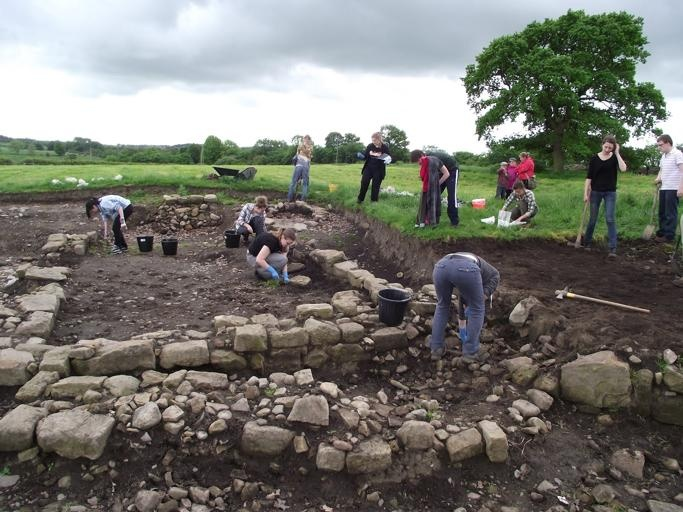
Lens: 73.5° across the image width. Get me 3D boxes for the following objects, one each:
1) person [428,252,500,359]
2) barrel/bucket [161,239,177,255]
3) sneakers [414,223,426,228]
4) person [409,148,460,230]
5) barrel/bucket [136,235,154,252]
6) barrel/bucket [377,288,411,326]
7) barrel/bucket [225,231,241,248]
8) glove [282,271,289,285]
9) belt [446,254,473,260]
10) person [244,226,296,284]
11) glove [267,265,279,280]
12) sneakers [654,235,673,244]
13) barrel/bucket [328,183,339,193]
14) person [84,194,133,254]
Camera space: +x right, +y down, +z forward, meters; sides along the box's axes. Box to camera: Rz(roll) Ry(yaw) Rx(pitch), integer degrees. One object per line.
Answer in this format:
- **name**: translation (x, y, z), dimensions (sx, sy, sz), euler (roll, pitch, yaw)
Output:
- **person**: translation (1.872, 0.821, 6.967), dimensions (0.979, 1.530, 1.283), euler (17, 32, 35)
- **barrel/bucket**: translation (-4.043, -0.215, 10.738), dimensions (0.373, 0.287, 0.393), euler (3, -1, 0)
- **sneakers**: translation (1.685, -0.660, 9.914), dimensions (0.211, 0.087, 0.072), euler (-2, 5, 39)
- **person**: translation (2.057, -1.469, 9.980), dimensions (1.085, 1.588, 0.899), euler (5, 11, 14)
- **barrel/bucket**: translation (-4.759, -0.302, 11.008), dimensions (0.416, 0.345, 0.392), euler (-1, 1, 0)
- **barrel/bucket**: translation (0.810, 0.834, 7.585), dimensions (0.550, 0.433, 0.598), euler (5, 15, -1)
- **barrel/bucket**: translation (-2.613, -0.406, 11.169), dimensions (0.409, 0.302, 0.411), euler (2, 2, 0)
- **glove**: translation (-1.084, 0.426, 9.023), dimensions (0.076, 0.201, 0.152), euler (5, -2, -2)
- **belt**: translation (1.706, 0.003, 6.550), dimensions (0.379, 0.072, 0.143), euler (4, 10, 8)
- **person**: translation (-1.406, -0.043, 9.081), dimensions (0.713, 1.078, 0.827), euler (-3, 12, -25)
- **glove**: translation (-1.339, 0.304, 8.992), dimensions (0.207, 0.278, 0.309), euler (1, 10, -6)
- **sneakers**: translation (6.358, -0.315, 9.061), dimensions (0.292, 0.121, 0.110), euler (7, 4, 18)
- **barrel/bucket**: translation (-0.267, -2.267, 15.308), dimensions (0.303, 0.246, 0.333), euler (0, 3, 0)
- **person**: translation (-5.429, -0.767, 10.826), dimensions (0.848, 1.276, 0.665), euler (5, 11, 16)
